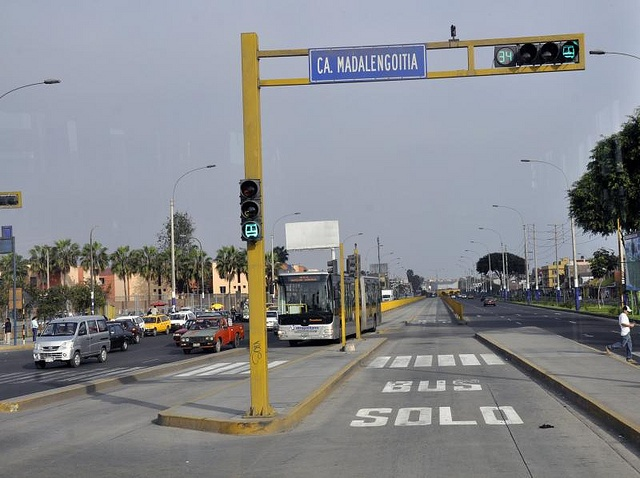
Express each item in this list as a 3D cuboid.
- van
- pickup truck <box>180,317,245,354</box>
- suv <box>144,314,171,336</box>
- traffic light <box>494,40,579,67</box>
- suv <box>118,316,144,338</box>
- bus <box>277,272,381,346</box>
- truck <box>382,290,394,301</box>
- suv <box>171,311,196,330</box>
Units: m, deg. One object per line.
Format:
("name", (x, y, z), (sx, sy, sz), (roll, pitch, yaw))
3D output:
("van", (-10.782, 4.466, 32.128), (1.554, 2.249, 3.282), (-8, -8, 25))
("pickup truck", (-5.572, 4.881, 37.897), (1.870, 1.833, 4.760), (-5, -4, 13))
("suv", (-12.958, 6.624, 56.899), (0.885, 1.073, 2.139), (-2, -9, 7))
("traffic light", (5.108, -4.416, 17.349), (1.997, 0.675, 0.165), (-7, -6, 4))
("suv", (-11.955, 5.533, 46.070), (1.386, 1.306, 2.346), (-1, -14, -2))
("bus", (0.657, 3.810, 40.538), (2.228, 2.871, 9.637), (-2, -6, 12))
("truck", (10.839, 8.955, 119.202), (0.891, 2.039, 11.537), (-5, -8, 11))
("suv", (-10.143, 5.977, 53.610), (1.652, 1.597, 3.105), (-2, -9, 4))
